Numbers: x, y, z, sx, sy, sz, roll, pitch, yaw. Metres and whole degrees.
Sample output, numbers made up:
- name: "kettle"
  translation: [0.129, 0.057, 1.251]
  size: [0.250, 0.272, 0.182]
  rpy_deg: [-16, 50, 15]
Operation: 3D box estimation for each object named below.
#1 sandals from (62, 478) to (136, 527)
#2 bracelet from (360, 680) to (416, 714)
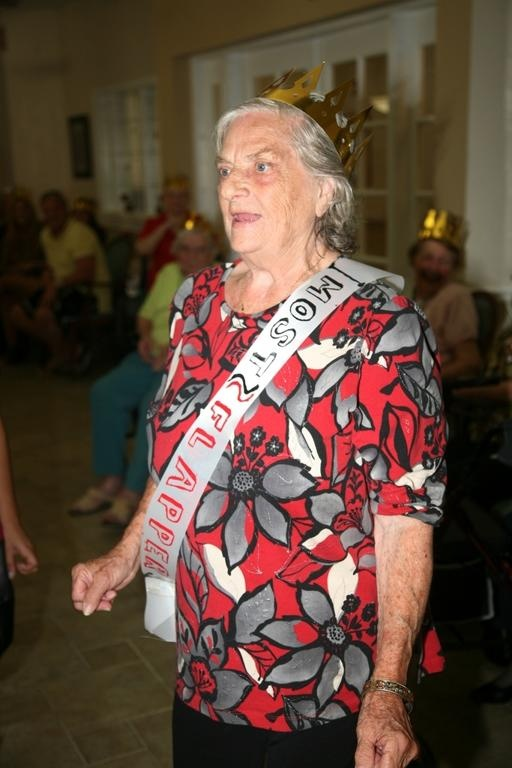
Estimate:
- name: "sandals"
  translation: [-0.606, 0.480, 2.953]
  size: [0.188, 0.061, 0.228]
  rpy_deg: [5, 14, 17]
- name: "bracelet"
  translation: [0.143, 0.338, 0.789]
  size: [0.053, 0.050, 0.036]
  rpy_deg: [-3, 13, 3]
